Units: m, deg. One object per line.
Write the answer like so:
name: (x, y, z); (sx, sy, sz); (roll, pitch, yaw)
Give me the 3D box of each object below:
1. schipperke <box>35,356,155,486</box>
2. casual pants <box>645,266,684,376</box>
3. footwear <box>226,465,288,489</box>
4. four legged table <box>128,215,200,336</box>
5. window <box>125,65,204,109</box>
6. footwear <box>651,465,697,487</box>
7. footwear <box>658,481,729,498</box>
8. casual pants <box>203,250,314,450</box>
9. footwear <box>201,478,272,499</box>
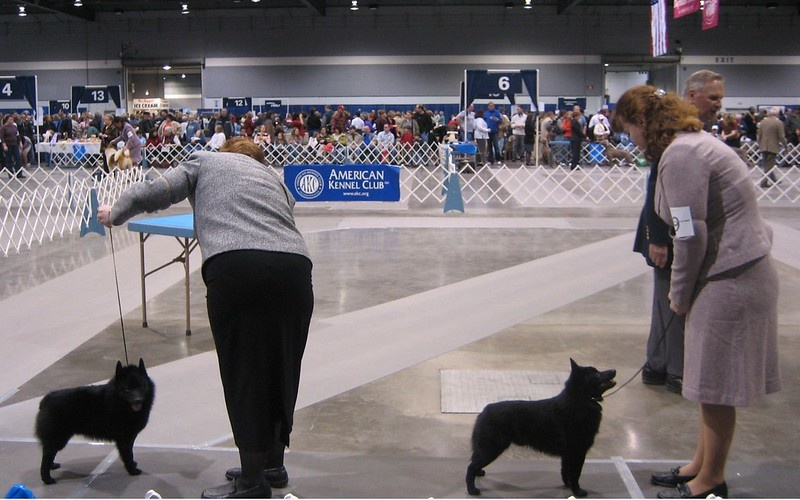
schipperke: (-2.087, 1.191, 5.382); (0.861, 0.836, 0.323); (-1, 5, -7)
casual pants: (2.224, 0.654, 6.679); (0.265, 0.903, 0.239); (-8, -6, 5)
footwear: (-0.958, 1.564, 5.330); (0.466, 0.184, 0.162); (8, -3, -10)
four legged table: (-2.325, 0.284, 7.646); (0.748, 0.984, 1.040); (1, -5, -31)
window: (-12.128, -8.193, 39.107); (4.176, 2.807, 0.155); (-12, 35, -37)
footwear: (1.888, 1.575, 5.279); (0.318, 0.117, 0.117); (0, -5, 0)
footwear: (1.996, 1.617, 5.127); (0.481, 0.142, 0.174); (1, -11, 4)
casual pants: (-0.906, 0.652, 5.036); (0.700, 1.315, 0.342); (-3, 12, -14)
footwear: (-1.073, 1.594, 5.146); (0.480, 0.130, 0.176); (3, -10, 4)
